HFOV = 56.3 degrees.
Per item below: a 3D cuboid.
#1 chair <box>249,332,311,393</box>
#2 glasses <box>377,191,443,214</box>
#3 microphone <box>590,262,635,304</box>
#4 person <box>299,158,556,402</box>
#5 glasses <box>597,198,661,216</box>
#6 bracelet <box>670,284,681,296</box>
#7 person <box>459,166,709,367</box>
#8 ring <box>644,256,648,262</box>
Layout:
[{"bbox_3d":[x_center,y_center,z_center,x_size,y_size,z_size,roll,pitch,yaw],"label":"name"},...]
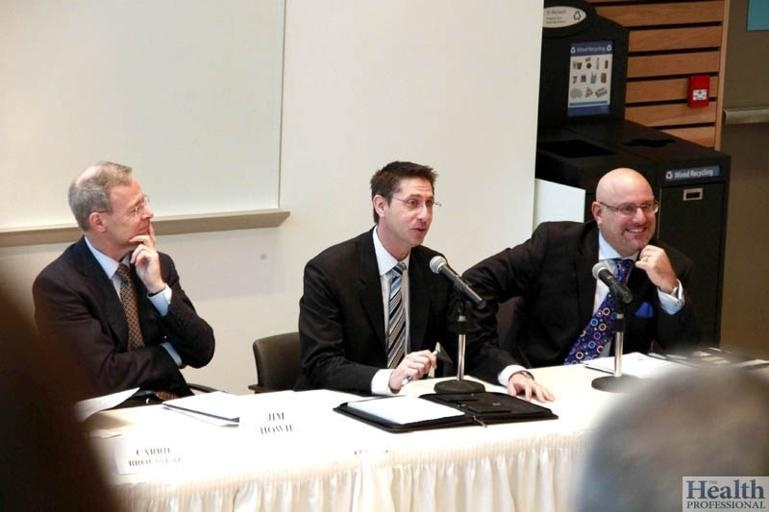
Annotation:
[{"bbox_3d":[-0.415,0.392,2.894,0.235,0.339,0.204,-3,2,-30],"label":"chair"},{"bbox_3d":[0.090,-0.208,2.868,0.135,0.042,0.134,4,-5,-38],"label":"glasses"},{"bbox_3d":[0.888,0.113,2.799,0.076,0.083,0.253,17,12,-22],"label":"microphone"},{"bbox_3d":[0.078,0.177,2.970,0.698,0.962,0.944,5,-14,-34],"label":"person"},{"bbox_3d":[1.067,-0.209,3.075,0.304,0.065,0.149,-4,9,-11],"label":"glasses"},{"bbox_3d":[1.194,0.140,2.920,0.047,0.044,0.035,-14,10,-27],"label":"bracelet"},{"bbox_3d":[0.971,0.045,3.354,0.866,1.381,0.687,8,-6,-18],"label":"person"},{"bbox_3d":[1.047,0.012,2.871,0.016,0.016,0.016,-1,-9,0],"label":"ring"}]
